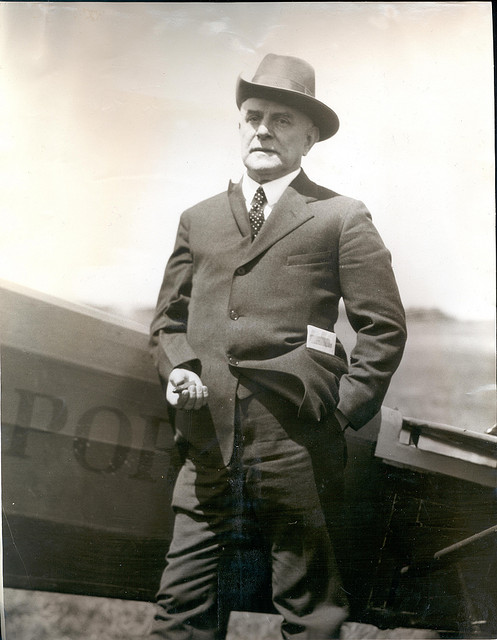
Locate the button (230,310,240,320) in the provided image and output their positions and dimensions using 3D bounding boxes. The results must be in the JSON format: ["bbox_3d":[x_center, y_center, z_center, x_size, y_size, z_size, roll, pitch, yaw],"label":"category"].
[{"bbox_3d":[-0.044,-0.015,2.311,0.026,0.030,0.007,0,-5,-2],"label":"button"}]

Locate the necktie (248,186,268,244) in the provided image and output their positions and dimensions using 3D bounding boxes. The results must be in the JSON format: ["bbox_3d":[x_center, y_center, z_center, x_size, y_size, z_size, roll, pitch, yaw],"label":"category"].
[{"bbox_3d":[0.039,-0.354,2.377,0.065,0.227,0.022,-7,-42,16],"label":"necktie"}]

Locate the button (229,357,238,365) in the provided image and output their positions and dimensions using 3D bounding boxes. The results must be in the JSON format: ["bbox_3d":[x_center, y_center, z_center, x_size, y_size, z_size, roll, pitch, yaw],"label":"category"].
[{"bbox_3d":[-0.048,0.128,2.296,0.027,0.021,0.007,7,0,-3],"label":"button"}]
